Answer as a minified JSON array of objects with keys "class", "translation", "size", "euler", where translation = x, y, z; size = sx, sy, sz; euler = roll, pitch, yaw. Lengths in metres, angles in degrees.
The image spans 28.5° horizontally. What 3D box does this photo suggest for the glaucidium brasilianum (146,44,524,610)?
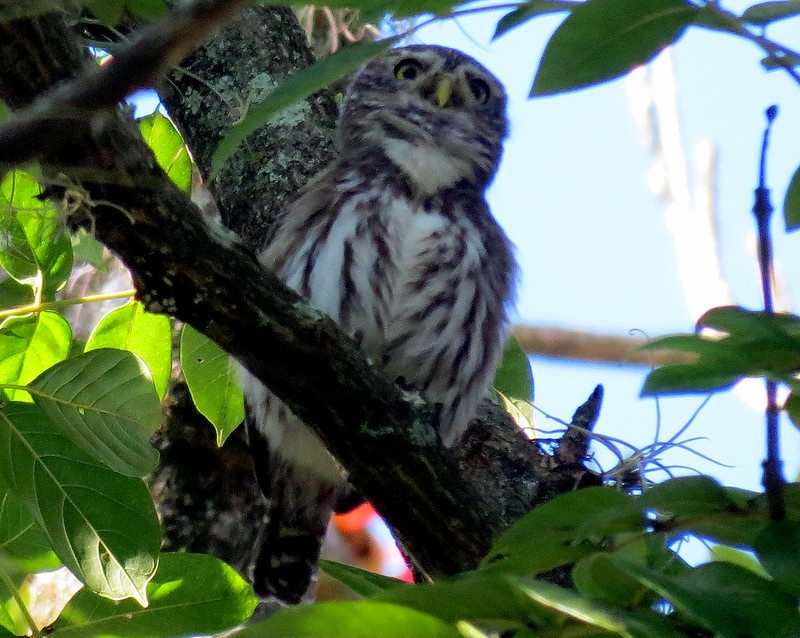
[{"class":"glaucidium brasilianum","translation":[-0.036,-0.107,2.665],"size":[0.494,1.145,0.529],"euler":[20,-28,-13]}]
